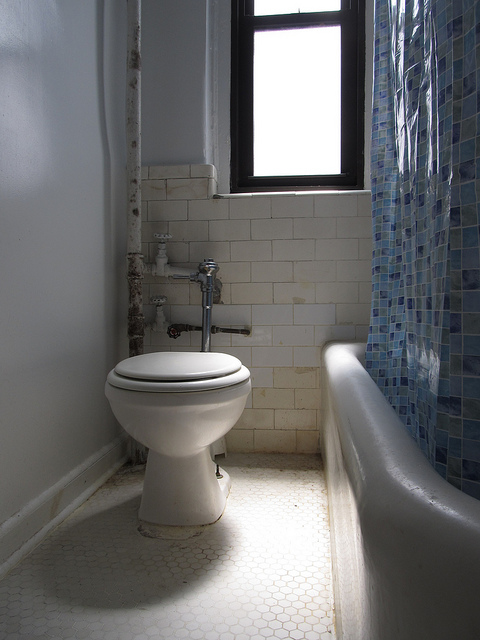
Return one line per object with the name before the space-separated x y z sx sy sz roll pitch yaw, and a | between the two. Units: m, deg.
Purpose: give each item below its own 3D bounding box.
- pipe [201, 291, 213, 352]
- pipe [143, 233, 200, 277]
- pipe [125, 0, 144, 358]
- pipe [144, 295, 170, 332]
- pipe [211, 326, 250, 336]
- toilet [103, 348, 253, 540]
pipe | -0.120 0.031 1.805 0.034 0.281 0.036 -4 13 -27
pipe | -0.235 -0.246 1.884 0.247 0.162 0.114 2 3 26
pipe | -0.368 -0.483 1.761 0.050 1.218 0.064 0 3 -12
pipe | -0.309 -0.034 1.947 0.102 0.146 0.116 -1 9 -3
pipe | -0.036 0.041 1.926 0.144 0.031 0.065 1 3 1
toilet | -0.154 0.329 1.378 0.355 0.460 0.494 0 3 0
